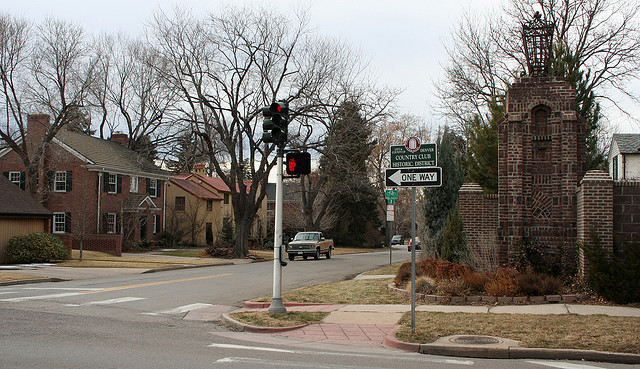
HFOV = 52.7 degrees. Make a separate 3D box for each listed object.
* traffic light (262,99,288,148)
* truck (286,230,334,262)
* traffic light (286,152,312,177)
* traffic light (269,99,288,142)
[{"bbox_3d":[-1.955,-2.596,27.646,1.079,2.054,0.672,-2,11,-7],"label":"traffic light"},{"bbox_3d":[-0.602,4.856,52.078,1.905,1.442,4.110,-3,-8,15],"label":"truck"},{"bbox_3d":[-0.955,-0.878,27.741,1.036,1.002,0.918,-2,10,-4],"label":"traffic light"},{"bbox_3d":[-1.751,-2.702,27.634,0.789,1.792,0.552,-6,12,-25],"label":"traffic light"}]
